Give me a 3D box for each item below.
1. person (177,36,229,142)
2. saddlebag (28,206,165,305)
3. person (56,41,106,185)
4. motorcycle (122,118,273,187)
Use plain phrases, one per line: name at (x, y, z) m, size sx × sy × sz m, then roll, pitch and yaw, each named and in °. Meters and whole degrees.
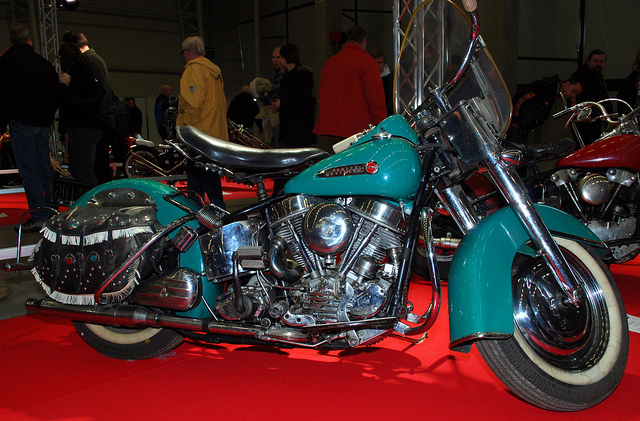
person at (-1.260, -1.073, 5.364) m, size 0.448 × 1.507 × 0.689 m, roll 2°, pitch 19°, yaw 4°
saddlebag at (-1.548, 0.304, 3.344) m, size 0.794 × 0.665 × 0.480 m, roll 3°, pitch 1°, yaw 13°
person at (-2.889, -1.023, 6.006) m, size 0.621 × 2.006 × 0.555 m, roll 15°, pitch 14°, yaw 35°
motorcycle at (-1.696, -0.766, 6.523) m, size 1.861 × 0.811 × 0.735 m, roll 0°, pitch 24°, yaw -2°
